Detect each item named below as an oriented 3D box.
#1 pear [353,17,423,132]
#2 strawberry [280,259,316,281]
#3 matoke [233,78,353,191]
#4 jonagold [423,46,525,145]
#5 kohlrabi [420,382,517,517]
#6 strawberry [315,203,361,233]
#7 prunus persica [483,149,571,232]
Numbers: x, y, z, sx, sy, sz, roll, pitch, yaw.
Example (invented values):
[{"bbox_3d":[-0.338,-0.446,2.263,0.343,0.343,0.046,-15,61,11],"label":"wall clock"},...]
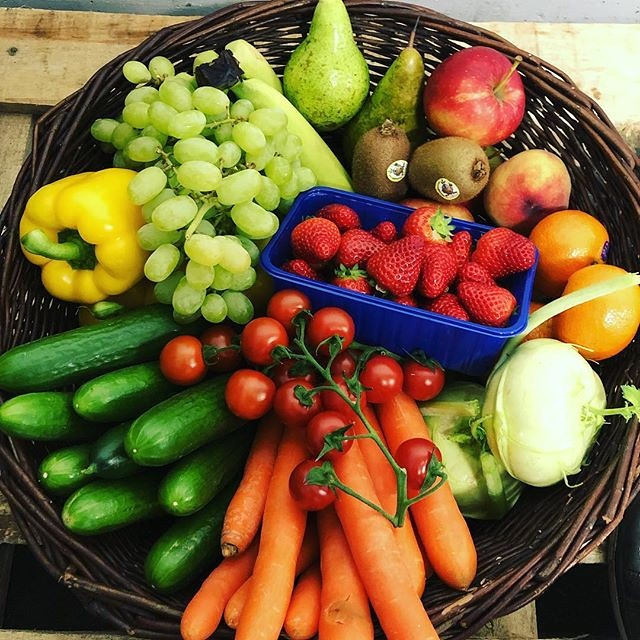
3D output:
[{"bbox_3d":[0.141,-0.546,1.510,0.143,0.246,0.144,10,42,12],"label":"pear"},{"bbox_3d":[-0.039,-0.102,1.327,0.061,0.042,0.028,27,78,-11],"label":"strawberry"},{"bbox_3d":[-0.067,-0.398,1.412,0.385,0.126,0.094,40,106,-6],"label":"matoke"},{"bbox_3d":[0.300,-0.500,1.507,0.289,0.195,0.222,1,34,7],"label":"jonagold"},{"bbox_3d":[0.287,0.266,1.370,0.256,0.124,0.219,-9,82,3],"label":"kohlrabi"},{"bbox_3d":[0.047,-0.215,1.411,0.087,0.058,0.052,5,70,20],"label":"strawberry"},{"bbox_3d":[0.443,-0.304,1.544,0.188,0.164,0.193,13,33,25],"label":"prunus persica"}]
